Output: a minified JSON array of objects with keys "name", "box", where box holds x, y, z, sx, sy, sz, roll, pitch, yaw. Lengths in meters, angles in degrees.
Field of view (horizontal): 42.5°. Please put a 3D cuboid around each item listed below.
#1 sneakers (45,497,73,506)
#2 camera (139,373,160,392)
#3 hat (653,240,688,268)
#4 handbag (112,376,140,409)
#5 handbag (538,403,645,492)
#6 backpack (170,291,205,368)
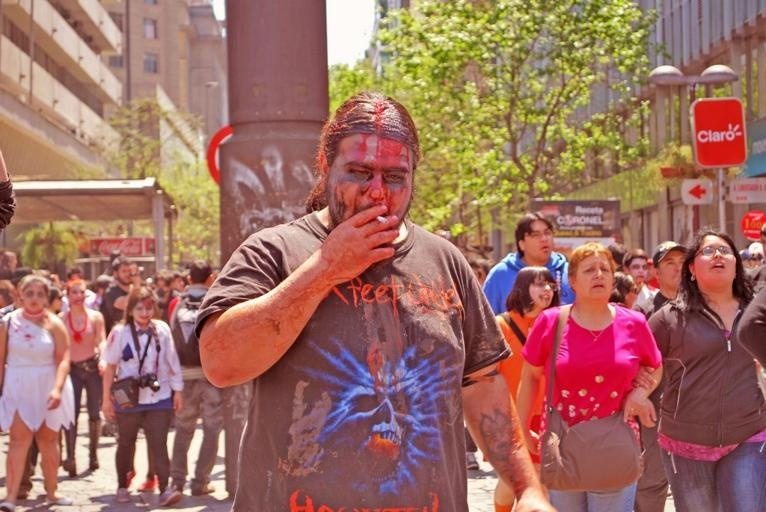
[{"name":"sneakers","box":[-3.764,2.870,11.507,0.246,0.091,0.124,0,2,16]},{"name":"camera","box":[-2.762,1.501,11.662,0.224,0.220,0.178,0,-10,-16]},{"name":"hat","box":[3.148,-0.034,11.049,0.227,0.175,0.329,-1,-23,-12]},{"name":"handbag","box":[-3.008,1.622,11.583,0.293,0.311,0.121,-9,-9,4]},{"name":"handbag","box":[1.831,1.690,8.621,0.645,0.688,0.289,-3,-13,2]},{"name":"backpack","box":[-2.188,0.864,11.050,0.393,0.813,0.546,12,-37,-15]}]
